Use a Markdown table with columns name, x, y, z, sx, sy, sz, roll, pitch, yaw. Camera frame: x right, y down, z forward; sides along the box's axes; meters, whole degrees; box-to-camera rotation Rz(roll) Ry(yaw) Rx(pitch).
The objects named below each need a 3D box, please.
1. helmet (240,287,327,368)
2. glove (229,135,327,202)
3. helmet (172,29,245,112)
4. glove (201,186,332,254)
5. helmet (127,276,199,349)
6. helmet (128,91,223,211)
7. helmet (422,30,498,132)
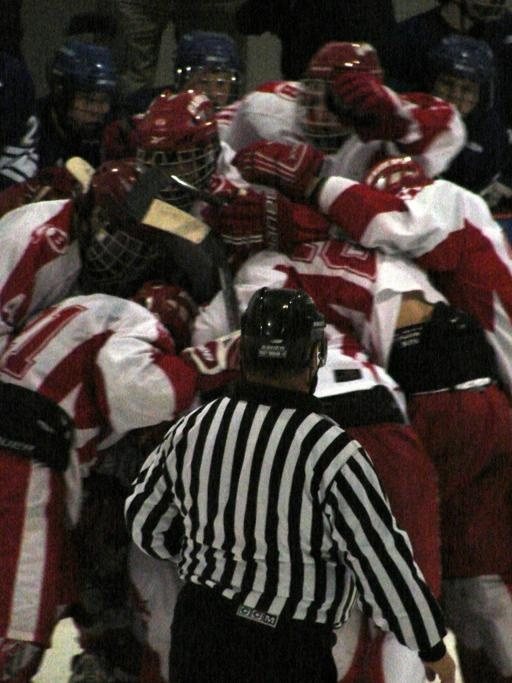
| name | x | y | z | sx | sy | sz | roll | pitch | yaw |
| --- | --- | --- | --- | --- | --- | --- | --- | --- | --- |
| helmet | 0.045 | -0.025 | 1.205 | 0.104 | 0.133 | 0.122 | 2 | 99 | 8 |
| glove | 0.063 | -0.447 | 1.990 | 0.213 | 0.086 | 0.133 | 17 | 99 | 23 |
| helmet | -0.102 | -0.782 | 2.318 | 0.191 | 0.238 | 0.237 | 4 | 98 | 7 |
| glove | 0.023 | -0.299 | 1.960 | 0.267 | 0.099 | 0.158 | 9 | 76 | 1 |
| helmet | -0.212 | -0.071 | 2.014 | 0.131 | 0.167 | 0.182 | -16 | 92 | -28 |
| helmet | -0.142 | -0.489 | 2.024 | 0.211 | 0.299 | 0.286 | 5 | 44 | 9 |
| helmet | 0.575 | -0.764 | 2.256 | 0.154 | 0.200 | 0.184 | 8 | 105 | 7 |
